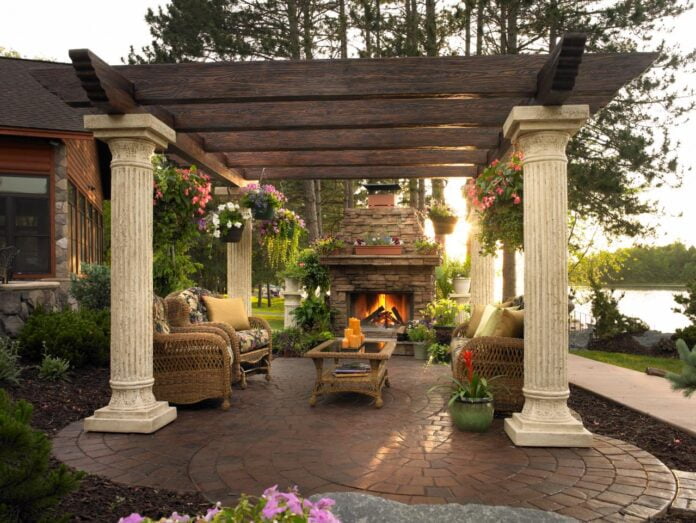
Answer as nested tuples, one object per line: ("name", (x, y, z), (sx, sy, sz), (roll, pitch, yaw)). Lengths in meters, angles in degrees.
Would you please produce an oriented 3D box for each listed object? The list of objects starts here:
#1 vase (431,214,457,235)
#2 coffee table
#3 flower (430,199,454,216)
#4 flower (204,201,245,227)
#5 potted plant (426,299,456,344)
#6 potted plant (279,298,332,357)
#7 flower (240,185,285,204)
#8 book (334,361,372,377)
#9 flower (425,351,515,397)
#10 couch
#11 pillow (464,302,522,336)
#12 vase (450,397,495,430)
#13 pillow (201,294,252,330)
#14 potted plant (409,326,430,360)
("vase", (1.942, -0.729, 12.388), (0.448, 0.258, 0.413), (2, -6, -7))
("coffee table", (0.092, 1.478, 8.298), (1.201, 0.744, 1.526), (0, -1, 9))
("flower", (1.888, -1.047, 12.478), (0.498, 0.239, 0.460), (6, 2, 3))
("flower", (-2.007, -0.749, 10.108), (0.528, 0.323, 0.486), (-2, 3, -15))
("potted plant", (1.835, 1.158, 11.812), (0.917, 0.887, 0.726), (0, -10, 4))
("potted plant", (-0.865, 1.292, 11.993), (0.910, 0.996, 0.755), (2, 3, 9))
("flower", (-1.357, -1.129, 10.124), (0.501, 0.219, 0.469), (1, 4, -29))
("book", (0.058, 1.426, 8.073), (0.483, 0.100, 0.495), (0, 5, -2))
("flower", (1.505, 1.404, 7.256), (0.879, 0.492, 0.816), (0, 2, 4))
("couch", (1.783, 1.138, 7.838), (1.320, 1.322, 2.065), (4, 1, 1))
("pillow", (1.743, 0.777, 7.738), (0.513, 0.509, 0.717), (0, -2, -3))
("vase", (1.380, 1.688, 6.823), (0.429, 0.273, 0.404), (-1, -6, 9))
("pillow", (-1.749, 0.755, 9.149), (0.563, 0.502, 0.601), (11, 2, 14))
("potted plant", (1.218, 1.524, 11.364), (0.534, 0.629, 0.591), (-3, -7, 20))
